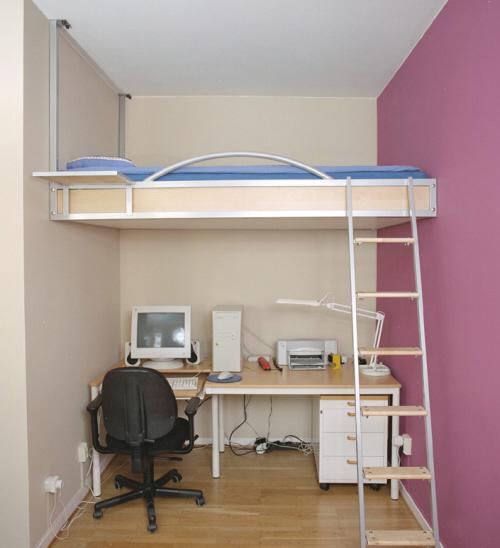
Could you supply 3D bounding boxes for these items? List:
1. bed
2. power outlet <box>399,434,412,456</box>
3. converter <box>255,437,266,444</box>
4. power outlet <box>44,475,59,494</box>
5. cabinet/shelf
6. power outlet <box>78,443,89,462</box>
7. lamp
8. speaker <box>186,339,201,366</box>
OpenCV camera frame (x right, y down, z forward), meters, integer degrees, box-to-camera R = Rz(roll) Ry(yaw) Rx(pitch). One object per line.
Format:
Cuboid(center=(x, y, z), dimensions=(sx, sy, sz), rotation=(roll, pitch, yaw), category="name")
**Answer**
Cuboid(center=(-0.087, -0.666, 3.240), dimensions=(1.411, 0.667, 1.396), rotation=(1, 2, 2), category="bed")
Cuboid(center=(0.936, 1.034, 3.471), dimensions=(0.065, 0.146, 0.178), rotation=(-1, -1, 13), category="power outlet")
Cuboid(center=(0.077, 1.197, 4.161), dimensions=(0.056, 0.052, 0.032), rotation=(3, -4, 3), category="converter")
Cuboid(center=(-1.043, 1.111, 3.085), dimensions=(0.082, 0.070, 0.115), rotation=(0, 2, -6), category="power outlet")
Cuboid(center=(0.588, 1.017, 3.552), dimensions=(0.453, 0.703, 0.565), rotation=(0, -4, 2), category="cabinet/shelf")
Cuboid(center=(-0.994, 1.079, 3.464), dimensions=(0.058, 0.134, 0.109), rotation=(-1, -1, -9), category="power outlet")
Cuboid(center=(0.539, 0.414, 3.939), dimensions=(0.913, 0.630, 0.362), rotation=(0, -2, 3), category="lamp")
Cuboid(center=(-0.368, 0.538, 3.911), dimensions=(0.109, 0.186, 0.151), rotation=(-1, -8, 4), category="speaker")
